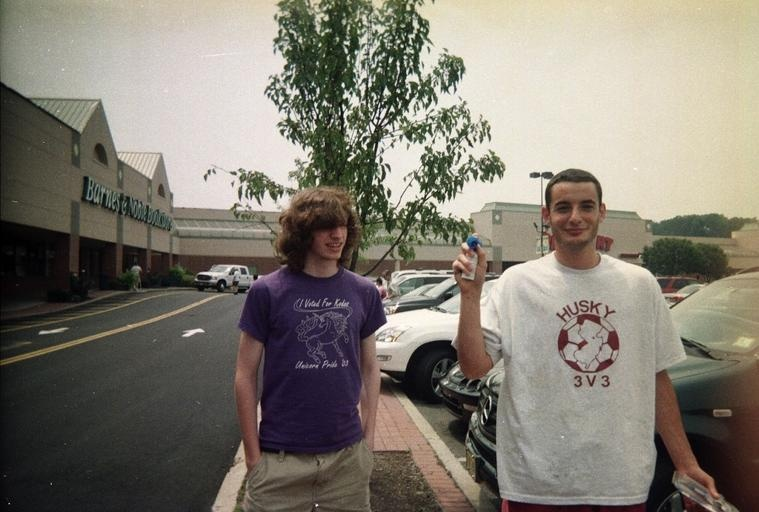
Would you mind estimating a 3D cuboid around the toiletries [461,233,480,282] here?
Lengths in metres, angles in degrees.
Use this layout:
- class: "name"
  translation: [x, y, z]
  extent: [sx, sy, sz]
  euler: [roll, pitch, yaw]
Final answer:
- class: "toiletries"
  translation: [0.627, 0.011, 3.725]
  extent: [0.099, 0.290, 0.213]
  euler: [1, 4, 14]

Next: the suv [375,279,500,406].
- class: "suv"
  translation: [0.524, 1.390, 8.429]
  extent: [2.328, 1.222, 1.123]
  euler: [3, -5, -9]

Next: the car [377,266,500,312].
- class: "car"
  translation: [1.174, 0.596, 11.856]
  extent: [2.089, 0.991, 1.059]
  euler: [-1, -3, -18]

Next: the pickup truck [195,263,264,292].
- class: "pickup truck"
  translation: [-9.652, 1.303, 33.910]
  extent: [1.587, 1.092, 2.995]
  euler: [-5, -9, 29]
